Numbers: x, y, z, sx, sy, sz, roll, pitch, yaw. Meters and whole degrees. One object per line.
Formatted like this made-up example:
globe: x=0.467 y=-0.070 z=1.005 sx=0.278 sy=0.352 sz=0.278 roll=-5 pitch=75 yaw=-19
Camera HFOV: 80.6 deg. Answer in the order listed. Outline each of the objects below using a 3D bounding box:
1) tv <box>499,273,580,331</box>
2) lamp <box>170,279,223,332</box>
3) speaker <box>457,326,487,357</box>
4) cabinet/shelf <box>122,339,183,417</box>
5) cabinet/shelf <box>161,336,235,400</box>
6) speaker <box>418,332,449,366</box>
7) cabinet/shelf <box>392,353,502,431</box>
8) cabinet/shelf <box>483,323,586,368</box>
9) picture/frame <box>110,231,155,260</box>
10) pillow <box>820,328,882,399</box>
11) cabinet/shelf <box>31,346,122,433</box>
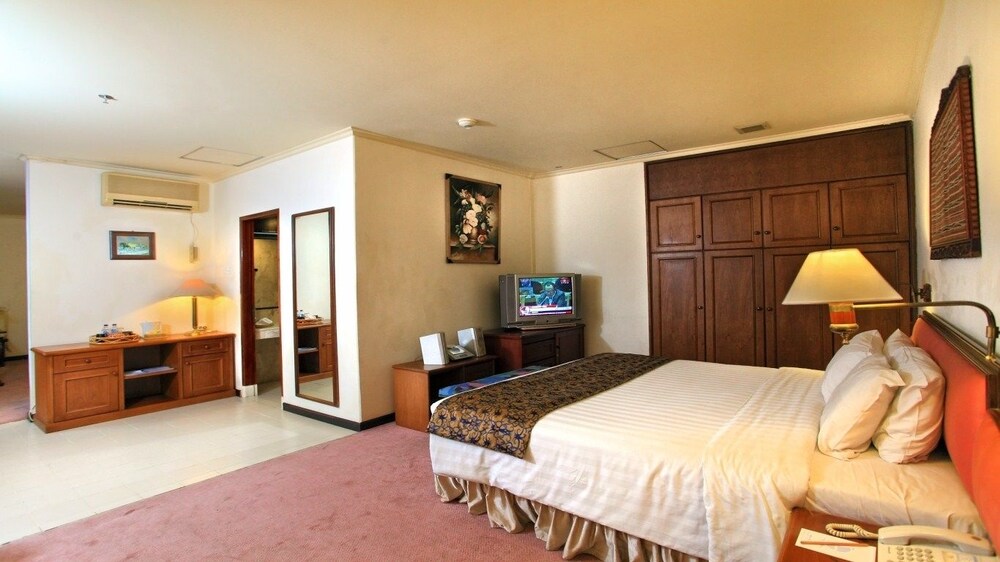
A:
tv: x=0.827 y=0.325 z=8.535 sx=1.255 sy=0.786 sz=0.649 roll=-3 pitch=-6 yaw=34
lamp: x=-4.370 y=0.339 z=8.530 sx=0.607 sy=0.643 sz=0.437 roll=-4 pitch=2 yaw=-42
speaker: x=-0.386 y=0.801 z=7.659 sx=0.382 sy=0.323 sz=0.150 roll=1 pitch=13 yaw=37
cabinet/shelf: x=-4.810 y=1.260 z=8.080 sx=0.630 sy=0.775 sz=0.642 roll=-4 pitch=2 yaw=-31
cabinet/shelf: x=-4.114 y=1.311 z=8.533 sx=0.859 sy=0.906 sz=0.757 roll=-6 pitch=-17 yaw=-11
speaker: x=-0.844 y=0.859 z=7.323 sx=0.401 sy=0.344 sz=0.141 roll=-4 pitch=7 yaw=35
cabinet/shelf: x=-0.685 y=1.397 z=7.573 sx=0.681 sy=0.739 sz=1.279 roll=2 pitch=6 yaw=41
cabinet/shelf: x=0.591 y=1.022 z=8.408 sx=1.232 sy=0.698 sz=0.572 roll=-10 pitch=11 yaw=-37
picture/frame: x=-5.128 y=-0.487 z=8.164 sx=0.451 sy=0.335 sz=0.033 roll=-2 pitch=5 yaw=-43
pillow: x=3.102 y=0.726 z=5.182 sx=0.294 sy=0.280 sz=0.962 roll=-34 pitch=-14 yaw=37
cabinet/shelf: x=-5.329 y=1.354 z=7.345 sx=0.750 sy=1.084 sz=1.125 roll=0 pitch=0 yaw=34
